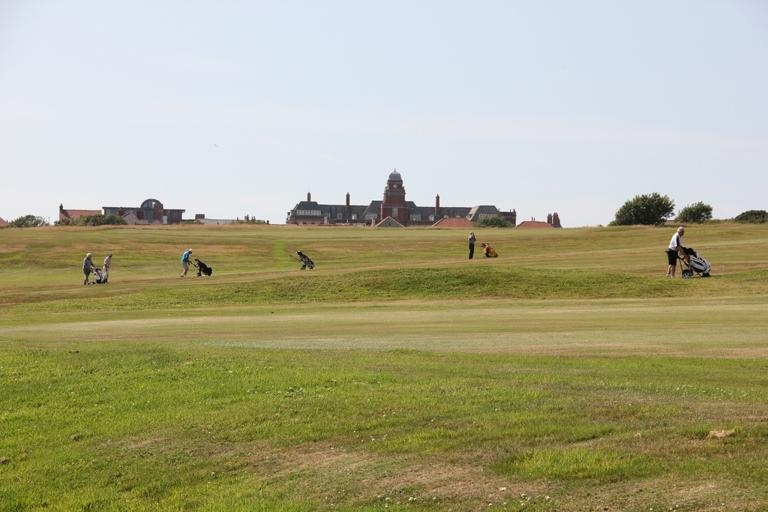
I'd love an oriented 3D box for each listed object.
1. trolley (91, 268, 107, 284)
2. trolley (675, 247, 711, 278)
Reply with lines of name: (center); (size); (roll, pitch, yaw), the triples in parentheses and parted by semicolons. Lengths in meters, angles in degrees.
trolley: (-15.468, 1.102, 61.694); (0.870, 0.966, 1.087); (-1, -9, 2)
trolley: (14.262, 0.308, 52.785); (1.695, 1.371, 1.586); (-5, -3, 23)
